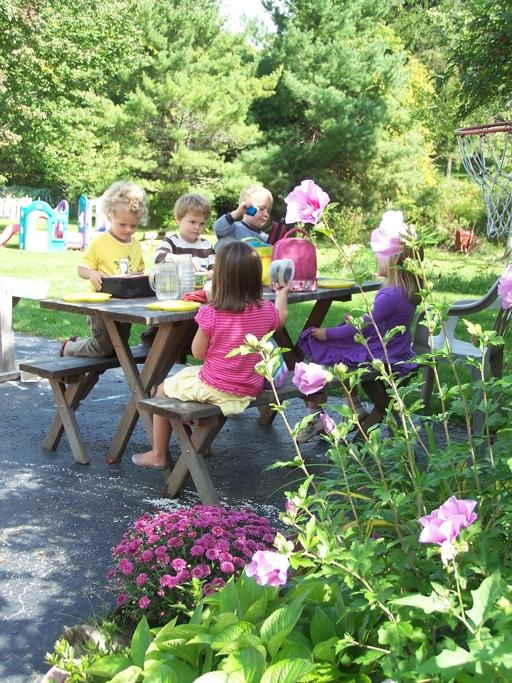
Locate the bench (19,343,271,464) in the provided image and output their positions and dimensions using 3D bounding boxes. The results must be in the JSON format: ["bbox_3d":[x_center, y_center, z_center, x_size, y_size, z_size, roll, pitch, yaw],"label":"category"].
[{"bbox_3d":[-1.026,0.264,3.564,0.613,0.660,0.965,7,8,28],"label":"bench"}]

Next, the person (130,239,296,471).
[{"bbox_3d":[-0.151,-0.064,2.672,0.524,0.788,0.267,1,11,-7],"label":"person"}]

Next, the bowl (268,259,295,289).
[{"bbox_3d":[0.151,-0.392,3.315,0.127,0.150,0.168,21,25,20],"label":"bowl"}]

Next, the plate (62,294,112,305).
[{"bbox_3d":[-0.926,-0.240,3.227,0.315,0.043,0.170,-5,11,-35],"label":"plate"}]

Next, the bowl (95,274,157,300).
[{"bbox_3d":[-0.795,-0.328,3.449,0.178,0.101,0.249,11,13,44],"label":"bowl"}]

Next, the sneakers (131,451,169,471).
[{"bbox_3d":[-0.570,0.661,3.115,0.204,0.075,0.099,14,6,3],"label":"sneakers"}]
